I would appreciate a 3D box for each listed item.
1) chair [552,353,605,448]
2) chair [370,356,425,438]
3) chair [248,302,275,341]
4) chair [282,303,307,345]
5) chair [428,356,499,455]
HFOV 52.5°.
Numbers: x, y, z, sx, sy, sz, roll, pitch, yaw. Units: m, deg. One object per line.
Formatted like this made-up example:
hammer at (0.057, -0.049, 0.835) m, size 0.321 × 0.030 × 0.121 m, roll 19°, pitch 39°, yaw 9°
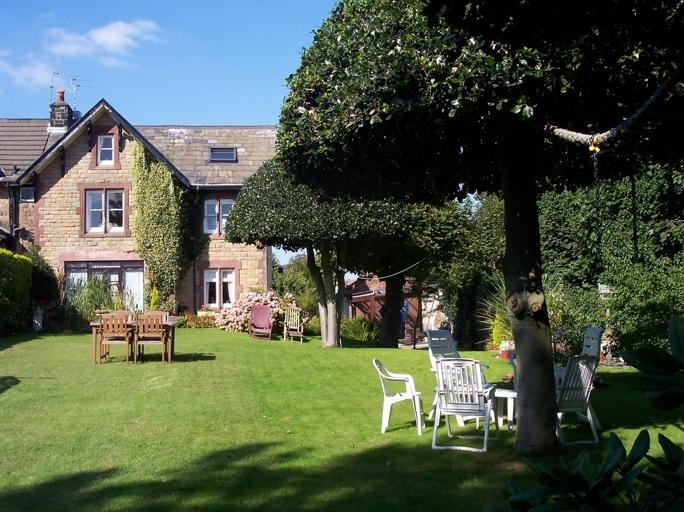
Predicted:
chair at (3.206, 1.955, 9.759) m, size 0.620 × 1.224 × 0.818 m, roll 0°, pitch 2°, yaw -7°
chair at (0.881, 2.106, 10.520) m, size 0.708 × 1.108 × 0.650 m, roll -2°, pitch -2°, yaw 20°
chair at (-2.674, 2.181, 22.605) m, size 0.809 × 1.107 × 1.097 m, roll 3°, pitch 5°, yaw -19°
chair at (-1.595, 2.217, 23.142) m, size 0.713 × 1.392 × 0.859 m, roll 3°, pitch 14°, yaw 10°
chair at (1.741, 2.069, 9.790) m, size 0.906 × 1.246 × 1.144 m, roll -2°, pitch -8°, yaw 14°
